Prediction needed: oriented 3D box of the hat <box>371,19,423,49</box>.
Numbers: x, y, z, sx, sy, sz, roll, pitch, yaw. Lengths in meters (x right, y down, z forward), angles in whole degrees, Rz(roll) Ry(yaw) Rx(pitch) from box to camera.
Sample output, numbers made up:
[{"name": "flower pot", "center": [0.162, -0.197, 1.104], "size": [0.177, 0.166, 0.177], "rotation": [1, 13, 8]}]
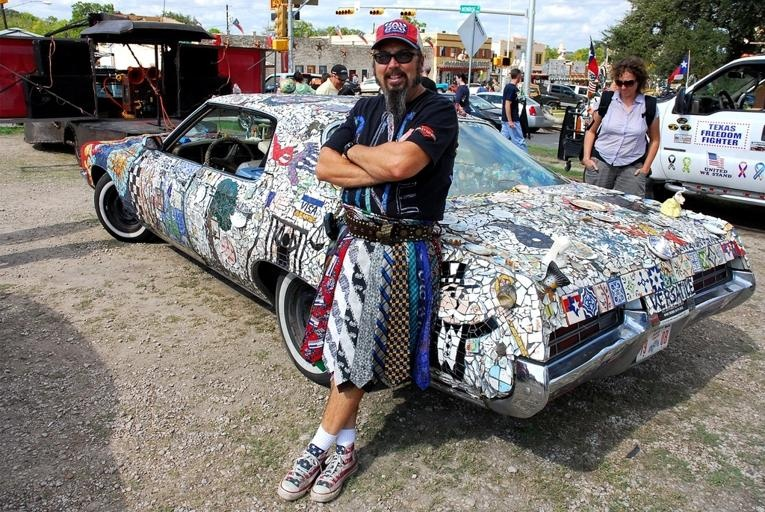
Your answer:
[{"name": "hat", "center": [0.074, -1.133, 2.090], "size": [0.245, 0.153, 0.198], "rotation": [0, 21, 1]}]

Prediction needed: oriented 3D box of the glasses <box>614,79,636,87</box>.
[{"name": "glasses", "center": [2.620, -1.850, 4.387], "size": [0.187, 0.062, 0.108], "rotation": [16, 26, 35]}]

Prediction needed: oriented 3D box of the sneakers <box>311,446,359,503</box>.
[{"name": "sneakers", "center": [-0.222, 1.268, 2.437], "size": [0.137, 0.187, 0.416], "rotation": [15, 12, 25]}]

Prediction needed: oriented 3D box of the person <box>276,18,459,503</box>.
[{"name": "person", "center": [-0.025, -0.215, 2.165], "size": [0.775, 1.895, 0.645], "rotation": [3, 21, 9]}]

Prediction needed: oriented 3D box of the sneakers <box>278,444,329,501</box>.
[{"name": "sneakers", "center": [-0.430, 1.205, 2.443], "size": [0.152, 0.167, 0.422], "rotation": [30, 27, 15]}]

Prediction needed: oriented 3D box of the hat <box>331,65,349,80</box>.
[{"name": "hat", "center": [-1.046, -4.294, 9.475], "size": [0.470, 0.273, 0.333], "rotation": [34, 35, 24]}]
